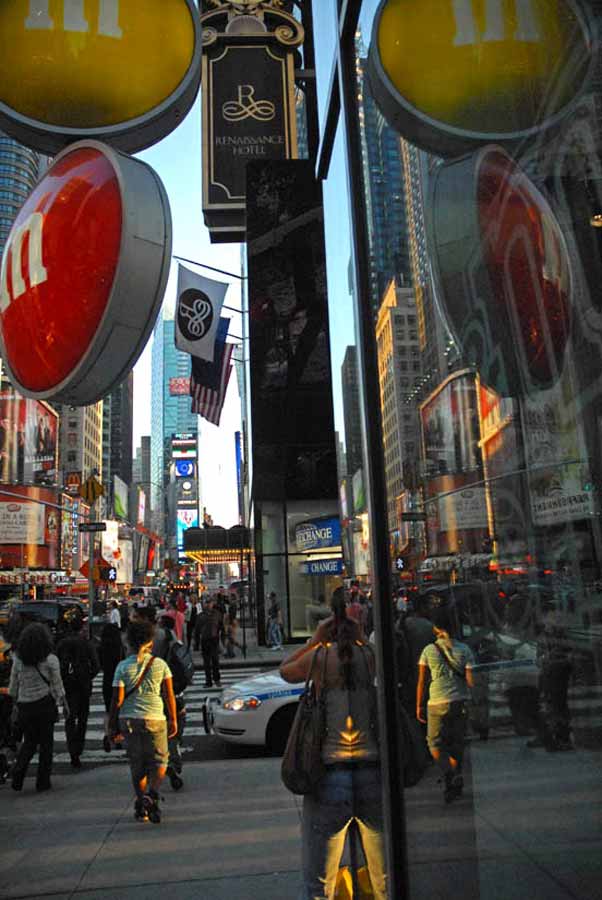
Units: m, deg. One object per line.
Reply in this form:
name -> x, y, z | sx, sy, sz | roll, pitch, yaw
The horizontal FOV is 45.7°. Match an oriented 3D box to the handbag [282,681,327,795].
handbag -> 0.029, 1.256, 3.165 | 0.139, 0.488, 0.178 | 23, -27, -36
